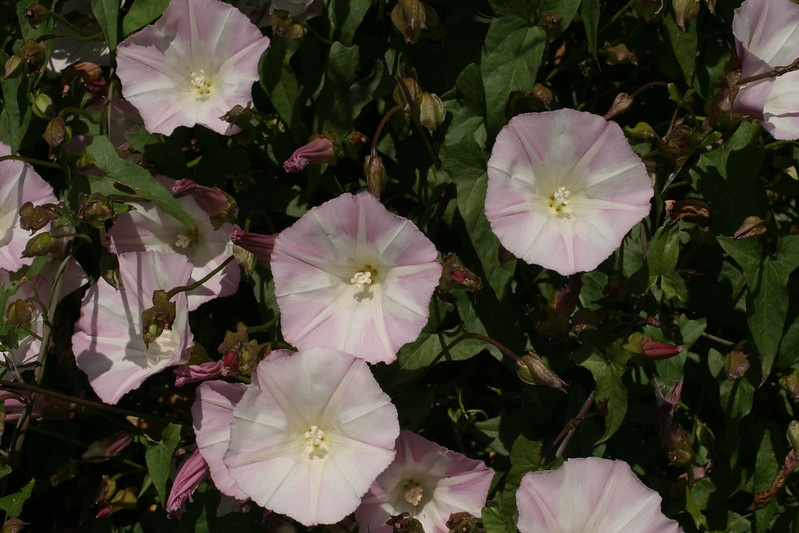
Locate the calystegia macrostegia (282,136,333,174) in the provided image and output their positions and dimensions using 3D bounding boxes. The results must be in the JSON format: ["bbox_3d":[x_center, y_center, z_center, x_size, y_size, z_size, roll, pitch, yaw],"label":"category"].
[{"bbox_3d":[-0.436,-0.555,4.020,0.248,0.109,0.131,-34,68,-31],"label":"calystegia macrostegia"}]

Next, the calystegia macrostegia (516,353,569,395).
[{"bbox_3d":[0.678,0.495,3.952,0.200,0.092,0.173,13,78,20],"label":"calystegia macrostegia"}]

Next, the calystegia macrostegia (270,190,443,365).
[{"bbox_3d":[-0.204,0.095,3.942,0.737,0.380,0.899,15,49,5],"label":"calystegia macrostegia"}]

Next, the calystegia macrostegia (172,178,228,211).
[{"bbox_3d":[-0.977,-0.348,4.106,0.235,0.094,0.158,20,89,-35],"label":"calystegia macrostegia"}]

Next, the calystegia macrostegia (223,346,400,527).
[{"bbox_3d":[-0.404,0.768,3.920,0.770,0.254,0.786,29,74,3],"label":"calystegia macrostegia"}]

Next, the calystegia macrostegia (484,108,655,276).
[{"bbox_3d":[0.797,-0.372,4.057,0.730,0.840,0.351,9,57,-13],"label":"calystegia macrostegia"}]

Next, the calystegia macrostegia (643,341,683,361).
[{"bbox_3d":[1.257,0.398,4.016,0.160,0.075,0.092,-2,86,18],"label":"calystegia macrostegia"}]

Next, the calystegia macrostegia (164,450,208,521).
[{"bbox_3d":[-1.065,1.088,4.217,0.108,0.142,0.383,29,60,-19],"label":"calystegia macrostegia"}]
